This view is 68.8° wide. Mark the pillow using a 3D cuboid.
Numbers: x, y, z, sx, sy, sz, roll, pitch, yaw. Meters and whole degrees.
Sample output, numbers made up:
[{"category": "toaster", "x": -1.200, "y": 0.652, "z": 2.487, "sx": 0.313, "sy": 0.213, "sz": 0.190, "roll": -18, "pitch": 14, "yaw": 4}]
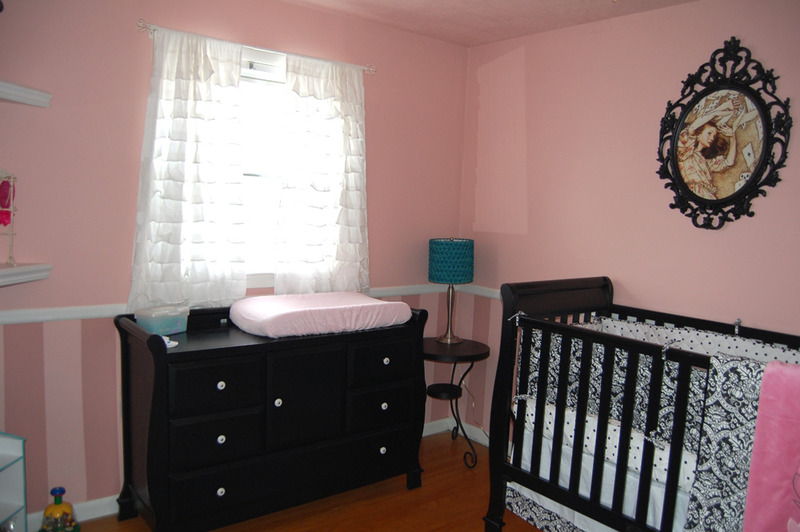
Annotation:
[{"category": "pillow", "x": -0.513, "y": 0.291, "z": 3.700, "sx": 0.748, "sy": 0.147, "sz": 0.441, "roll": -1, "pitch": 6, "yaw": -28}]

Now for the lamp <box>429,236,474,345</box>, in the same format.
[{"category": "lamp", "x": 0.377, "y": 0.192, "z": 4.562, "sx": 0.330, "sy": 0.850, "sz": 0.476, "roll": 1, "pitch": 14, "yaw": -6}]
